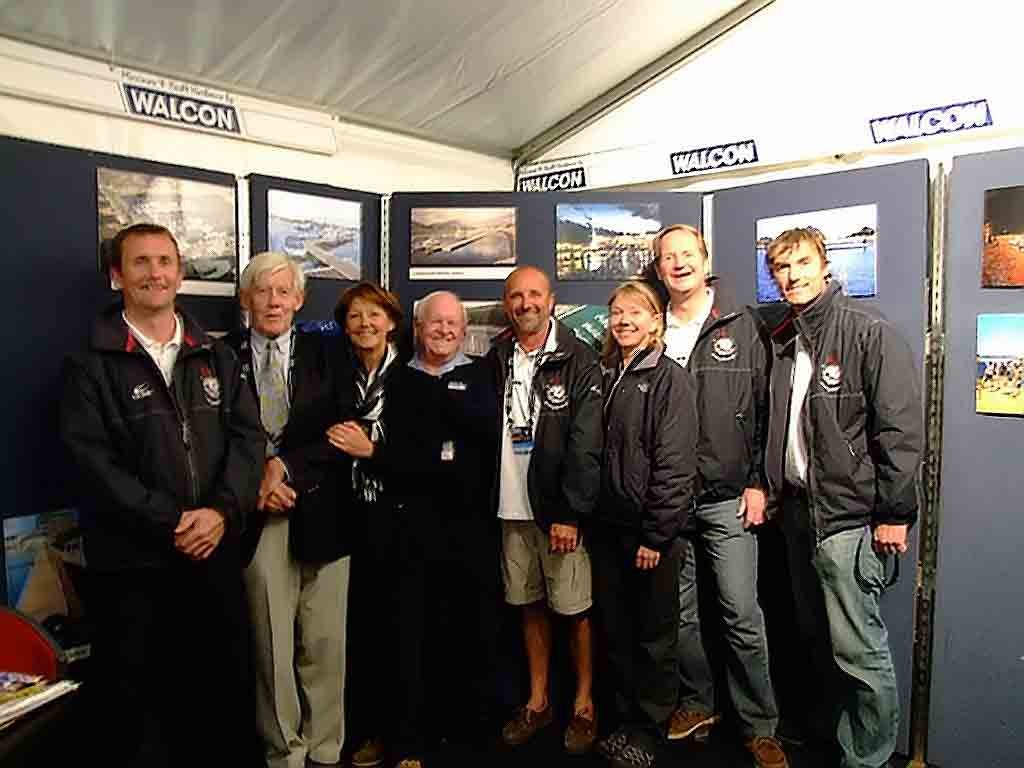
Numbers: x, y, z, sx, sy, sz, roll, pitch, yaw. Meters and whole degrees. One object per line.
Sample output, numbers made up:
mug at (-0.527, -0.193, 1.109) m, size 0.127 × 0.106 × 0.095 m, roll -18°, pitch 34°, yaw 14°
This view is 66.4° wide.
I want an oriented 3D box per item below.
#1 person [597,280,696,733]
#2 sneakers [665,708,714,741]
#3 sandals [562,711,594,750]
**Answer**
person at (0.616, 0.571, 3.605) m, size 0.442 × 2.051 × 0.461 m, roll 2°, pitch 8°, yaw 11°
sneakers at (0.840, 1.604, 3.724) m, size 0.284 × 0.128 × 0.107 m, roll 3°, pitch 1°, yaw -20°
sandals at (0.314, 1.606, 3.595) m, size 0.150 × 0.138 × 0.117 m, roll 1°, pitch 9°, yaw 3°
